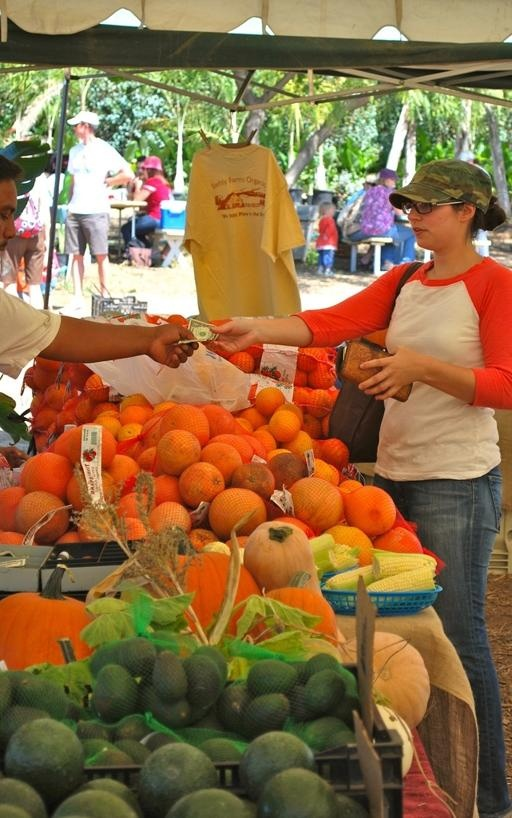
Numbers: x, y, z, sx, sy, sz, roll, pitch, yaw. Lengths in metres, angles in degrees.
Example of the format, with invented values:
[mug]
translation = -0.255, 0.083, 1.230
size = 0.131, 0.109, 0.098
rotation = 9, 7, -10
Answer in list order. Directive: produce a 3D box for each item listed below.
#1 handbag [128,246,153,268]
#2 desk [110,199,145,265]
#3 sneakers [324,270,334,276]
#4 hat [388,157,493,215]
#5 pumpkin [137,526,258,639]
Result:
[handbag]
translation = -2.463, -3.244, 14.056
size = 0.489, 0.440, 0.199
rotation = -6, 14, -2
[desk]
translation = -2.681, -3.691, 13.862
size = 0.567, 1.470, 0.542
rotation = -12, 16, -32
[sneakers]
translation = 1.640, -3.045, 14.693
size = 0.186, 0.114, 0.214
rotation = -1, -4, -4
[hat]
translation = 0.650, -0.752, 2.223
size = 0.341, 0.188, 0.162
rotation = 5, 18, 25
[pumpkin]
translation = -0.110, 0.299, 1.216
size = 0.215, 0.222, 0.237
rotation = 0, 5, 3
